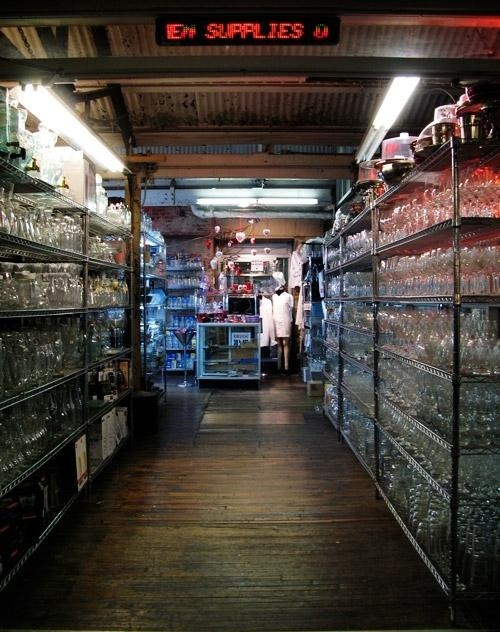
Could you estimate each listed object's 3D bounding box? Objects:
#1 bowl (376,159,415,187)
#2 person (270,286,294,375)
[{"bbox_3d":[0.864,-0.823,3.043,0.178,0.121,0.183,-6,2,0],"label":"bowl"},{"bbox_3d":[0.571,0.243,8.999,0.339,1.484,0.454,0,3,3],"label":"person"}]
